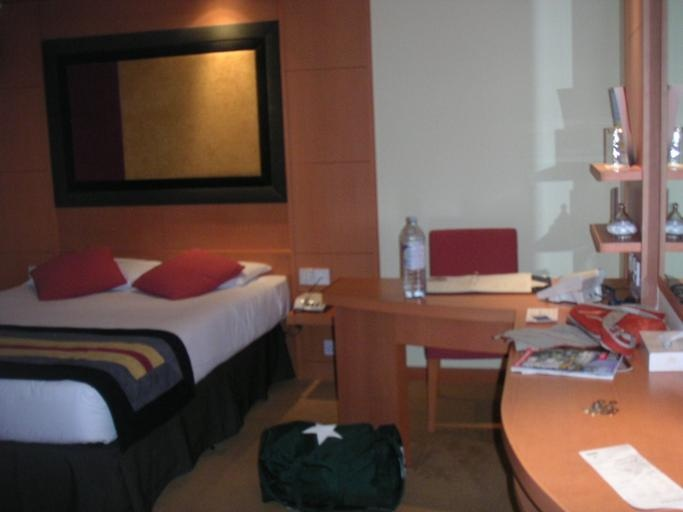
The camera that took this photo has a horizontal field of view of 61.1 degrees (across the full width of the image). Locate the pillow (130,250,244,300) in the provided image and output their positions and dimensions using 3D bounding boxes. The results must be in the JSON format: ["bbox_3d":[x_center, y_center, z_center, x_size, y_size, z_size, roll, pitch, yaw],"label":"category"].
[{"bbox_3d":[-1.097,0.137,4.015,0.397,0.140,0.429,2,20,29],"label":"pillow"}]

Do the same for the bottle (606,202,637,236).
[{"bbox_3d":[1.475,-0.199,3.049,0.155,0.179,0.160,-2,8,0],"label":"bottle"}]

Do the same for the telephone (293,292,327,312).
[{"bbox_3d":[-0.231,0.332,4.088,0.185,0.066,0.191,0,11,-2],"label":"telephone"}]

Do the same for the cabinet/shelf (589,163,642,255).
[{"bbox_3d":[1.564,-0.281,3.293,0.280,0.395,0.571,0,6,11],"label":"cabinet/shelf"}]
